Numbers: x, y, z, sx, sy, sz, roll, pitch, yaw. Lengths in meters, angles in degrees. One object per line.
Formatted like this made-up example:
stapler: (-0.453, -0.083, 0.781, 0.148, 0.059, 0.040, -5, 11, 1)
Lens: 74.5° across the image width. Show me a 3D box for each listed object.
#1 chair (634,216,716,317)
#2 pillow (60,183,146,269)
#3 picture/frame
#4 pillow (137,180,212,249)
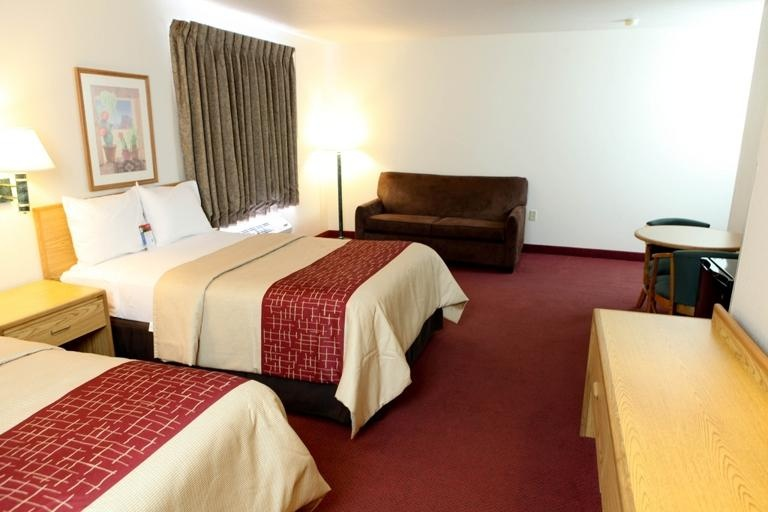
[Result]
chair: (2.673, 0.015, 4.600, 0.681, 0.671, 0.917, -6, 7, 41)
pillow: (-2.281, -0.214, 4.043, 0.203, 0.506, 0.594, -2, 13, 28)
picture/frame: (-2.339, -1.107, 4.343, 0.060, 1.161, 0.950, 7, 16, 26)
pillow: (-1.891, -0.375, 4.503, 0.151, 0.561, 0.566, -18, 1, 31)
